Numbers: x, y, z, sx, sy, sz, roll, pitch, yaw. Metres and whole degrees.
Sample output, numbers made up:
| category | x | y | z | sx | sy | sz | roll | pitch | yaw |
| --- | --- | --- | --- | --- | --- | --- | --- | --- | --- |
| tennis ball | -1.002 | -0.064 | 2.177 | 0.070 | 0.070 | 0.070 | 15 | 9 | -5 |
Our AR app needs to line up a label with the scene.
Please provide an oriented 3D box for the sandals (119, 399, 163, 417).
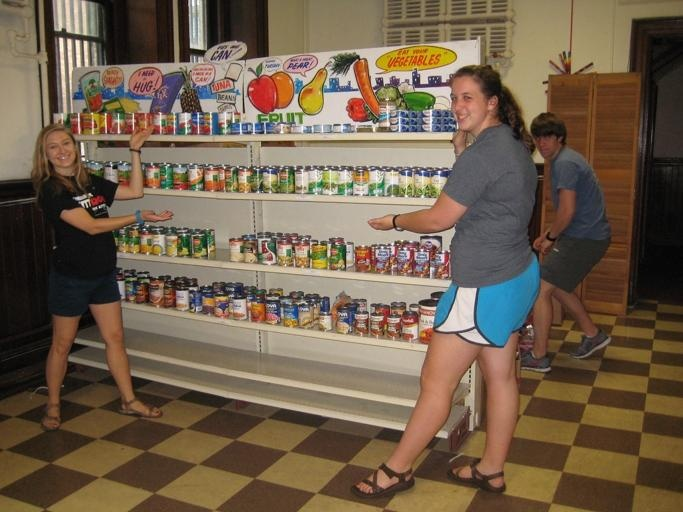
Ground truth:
| category | x | y | z | sx | sy | sz | roll | pitch | yaw |
| --- | --- | --- | --- | --- | --- | --- | --- | --- | --- |
| sandals | -1.330 | 1.022 | 3.702 | 0.318 | 0.081 | 0.106 | 3 | 14 | 5 |

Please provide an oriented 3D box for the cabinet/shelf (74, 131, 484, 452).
| category | x | y | z | sx | sy | sz | roll | pitch | yaw |
| --- | --- | --- | --- | --- | --- | --- | --- | --- | --- |
| cabinet/shelf | -0.375 | 0.252 | 3.492 | 3.010 | 1.346 | 0.540 | 2 | 8 | 19 |

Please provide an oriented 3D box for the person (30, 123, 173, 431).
| category | x | y | z | sx | sy | sz | roll | pitch | yaw |
| --- | --- | --- | --- | --- | --- | --- | --- | --- | --- |
| person | -1.588 | 0.131 | 3.543 | 0.986 | 1.917 | 0.600 | -10 | 20 | -23 |

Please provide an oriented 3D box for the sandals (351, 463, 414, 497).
| category | x | y | z | sx | sy | sz | roll | pitch | yaw |
| --- | --- | --- | --- | --- | --- | --- | --- | --- | --- |
| sandals | 0.215 | 1.179 | 2.880 | 0.394 | 0.114 | 0.146 | -1 | 6 | 2 |

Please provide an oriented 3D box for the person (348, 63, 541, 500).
| category | x | y | z | sx | sy | sz | roll | pitch | yaw |
| --- | --- | --- | --- | --- | --- | --- | --- | --- | --- |
| person | 0.573 | 0.185 | 2.723 | 0.647 | 2.211 | 0.879 | 13 | 23 | 37 |

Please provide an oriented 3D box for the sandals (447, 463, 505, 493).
| category | x | y | z | sx | sy | sz | roll | pitch | yaw |
| --- | --- | --- | --- | --- | --- | --- | --- | --- | --- |
| sandals | 0.711 | 1.187 | 3.021 | 0.338 | 0.095 | 0.118 | 8 | 13 | 36 |
